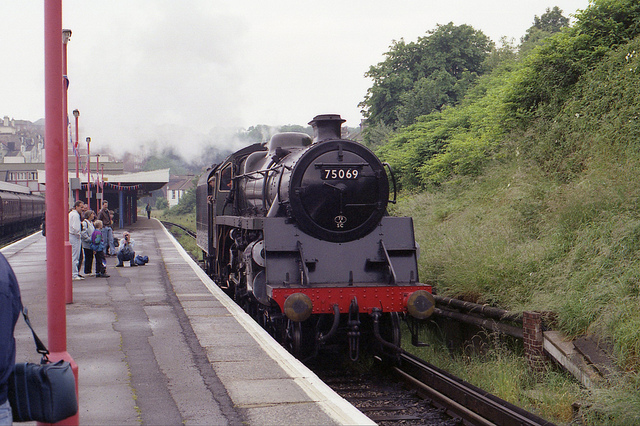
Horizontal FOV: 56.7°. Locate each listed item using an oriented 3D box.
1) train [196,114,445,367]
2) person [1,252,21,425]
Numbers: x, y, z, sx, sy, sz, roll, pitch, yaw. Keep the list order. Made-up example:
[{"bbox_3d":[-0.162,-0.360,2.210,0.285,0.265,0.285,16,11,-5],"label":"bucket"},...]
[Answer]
[{"bbox_3d":[-0.533,0.338,13.559,3.065,4.964,6.795,-3,6,-24],"label":"train"},{"bbox_3d":[-3.485,1.445,6.714,0.241,1.967,0.327,-3,6,-21],"label":"person"}]
